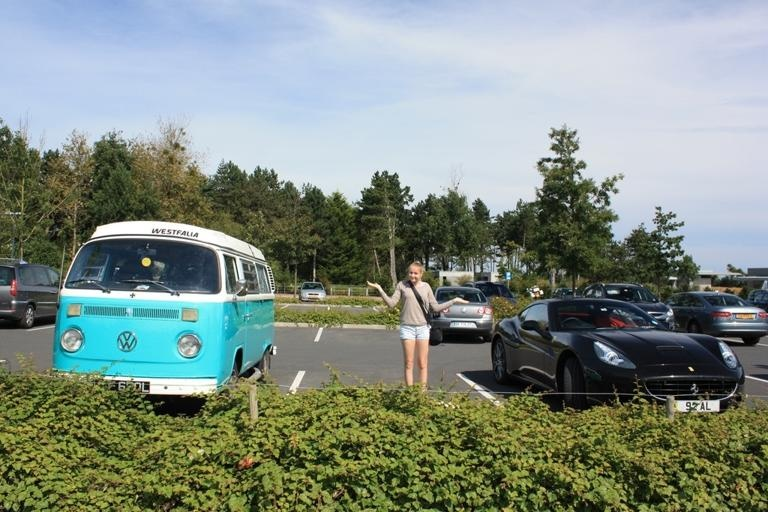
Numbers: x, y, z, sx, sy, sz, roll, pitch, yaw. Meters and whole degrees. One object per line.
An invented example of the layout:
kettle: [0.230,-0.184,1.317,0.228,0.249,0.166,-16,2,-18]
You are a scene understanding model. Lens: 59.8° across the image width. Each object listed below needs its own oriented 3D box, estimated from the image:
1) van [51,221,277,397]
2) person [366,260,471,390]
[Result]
van: [-3.042,0.730,10.582,2.108,2.122,3.839,1,-1,9]
person: [0.498,1.058,10.557,0.947,1.981,0.583,1,0,-30]
